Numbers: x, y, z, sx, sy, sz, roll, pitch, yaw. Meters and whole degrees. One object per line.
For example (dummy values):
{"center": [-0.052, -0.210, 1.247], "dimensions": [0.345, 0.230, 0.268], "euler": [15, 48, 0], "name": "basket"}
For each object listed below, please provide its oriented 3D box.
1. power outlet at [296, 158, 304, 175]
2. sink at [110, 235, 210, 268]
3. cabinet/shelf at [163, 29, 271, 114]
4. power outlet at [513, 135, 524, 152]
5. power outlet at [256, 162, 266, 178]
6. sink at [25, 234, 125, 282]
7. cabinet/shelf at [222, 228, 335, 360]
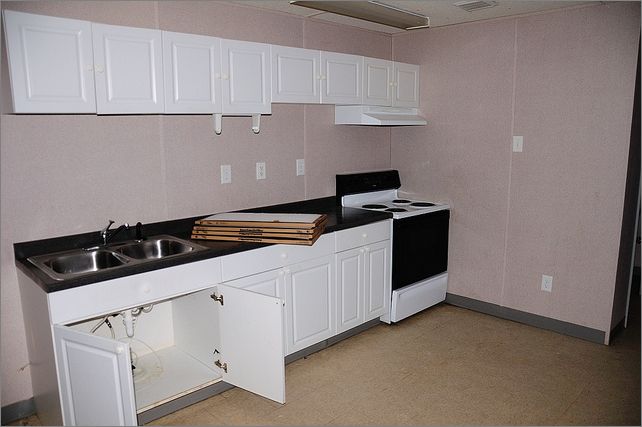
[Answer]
{"center": [-0.200, -0.456, 4.520], "dimensions": [0.114, 0.160, 0.018], "euler": [-15, 18, -42], "name": "power outlet"}
{"center": [-1.301, 0.264, 3.539], "dimensions": [0.358, 0.133, 0.310], "euler": [-7, 12, -44], "name": "sink"}
{"center": [-0.923, -1.111, 3.790], "dimensions": [0.944, 0.567, 0.509], "euler": [-10, 19, -40], "name": "cabinet/shelf"}
{"center": [1.892, -0.682, 4.467], "dimensions": [0.106, 0.131, 0.033], "euler": [5, 5, 33], "name": "power outlet"}
{"center": [-0.559, -0.406, 4.264], "dimensions": [0.144, 0.188, 0.017], "euler": [-6, 10, -44], "name": "power outlet"}
{"center": [-1.702, 0.346, 3.301], "dimensions": [0.338, 0.194, 0.340], "euler": [19, 23, 40], "name": "sink"}
{"center": [-0.367, 0.585, 3.646], "dimensions": [0.624, 0.936, 1.086], "euler": [5, 10, 44], "name": "cabinet/shelf"}
